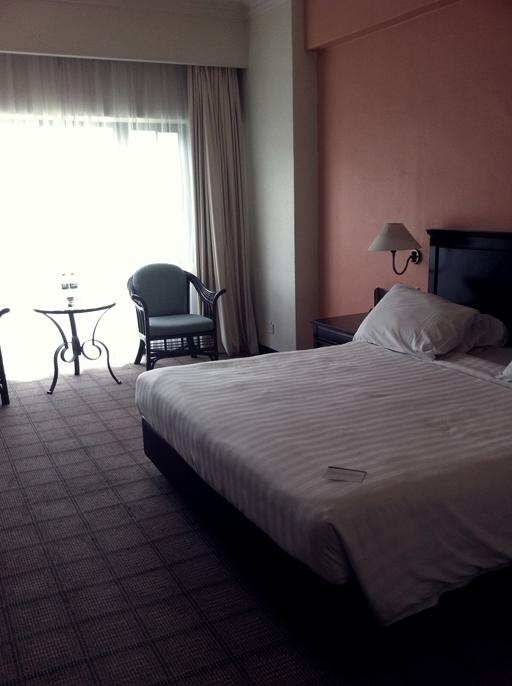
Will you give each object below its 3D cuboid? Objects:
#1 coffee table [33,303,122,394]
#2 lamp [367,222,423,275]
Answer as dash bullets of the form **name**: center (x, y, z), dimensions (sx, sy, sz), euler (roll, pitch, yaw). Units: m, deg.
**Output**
- **coffee table**: center (-1.533, 0.008, 4.858), dimensions (0.729, 0.911, 0.805), euler (-8, 15, -32)
- **lamp**: center (0.917, -0.610, 3.483), dimensions (0.347, 0.352, 0.301), euler (-12, 15, -18)
